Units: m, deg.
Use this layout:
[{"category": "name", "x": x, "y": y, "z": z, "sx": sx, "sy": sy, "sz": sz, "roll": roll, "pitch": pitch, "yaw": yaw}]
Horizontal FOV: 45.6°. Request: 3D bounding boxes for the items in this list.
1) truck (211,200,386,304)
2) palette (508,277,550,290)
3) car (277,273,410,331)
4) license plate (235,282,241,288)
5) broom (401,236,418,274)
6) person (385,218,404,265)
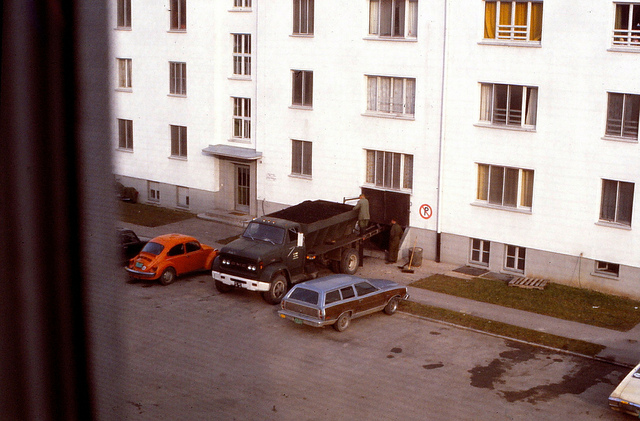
[{"category": "truck", "x": -0.832, "y": 1.615, "z": 31.247, "sx": 2.708, "sy": 2.539, "sz": 7.610, "roll": 3, "pitch": 9, "yaw": 33}, {"category": "palette", "x": 8.748, "y": 3.026, "z": 31.895, "sx": 1.490, "sy": 0.161, "sz": 1.289, "roll": 10, "pitch": 17, "yaw": 28}, {"category": "car", "x": 0.913, "y": 3.153, "z": 27.331, "sx": 1.878, "sy": 1.294, "sz": 4.040, "roll": 8, "pitch": 16, "yaw": 42}, {"category": "license plate", "x": -3.146, "y": 2.807, "z": 28.887, "sx": 0.233, "sy": 0.171, "sz": 0.131, "roll": 1, "pitch": -1, "yaw": 14}, {"category": "broom", "x": 3.982, "y": 1.958, "z": 34.097, "sx": 0.612, "sy": 1.054, "sz": 2.262, "roll": 3, "pitch": 15, "yaw": 8}, {"category": "person", "x": 3.269, "y": 1.444, "z": 34.358, "sx": 0.538, "sy": 1.862, "sz": 0.539, "roll": 5, "pitch": 15, "yaw": 13}]
